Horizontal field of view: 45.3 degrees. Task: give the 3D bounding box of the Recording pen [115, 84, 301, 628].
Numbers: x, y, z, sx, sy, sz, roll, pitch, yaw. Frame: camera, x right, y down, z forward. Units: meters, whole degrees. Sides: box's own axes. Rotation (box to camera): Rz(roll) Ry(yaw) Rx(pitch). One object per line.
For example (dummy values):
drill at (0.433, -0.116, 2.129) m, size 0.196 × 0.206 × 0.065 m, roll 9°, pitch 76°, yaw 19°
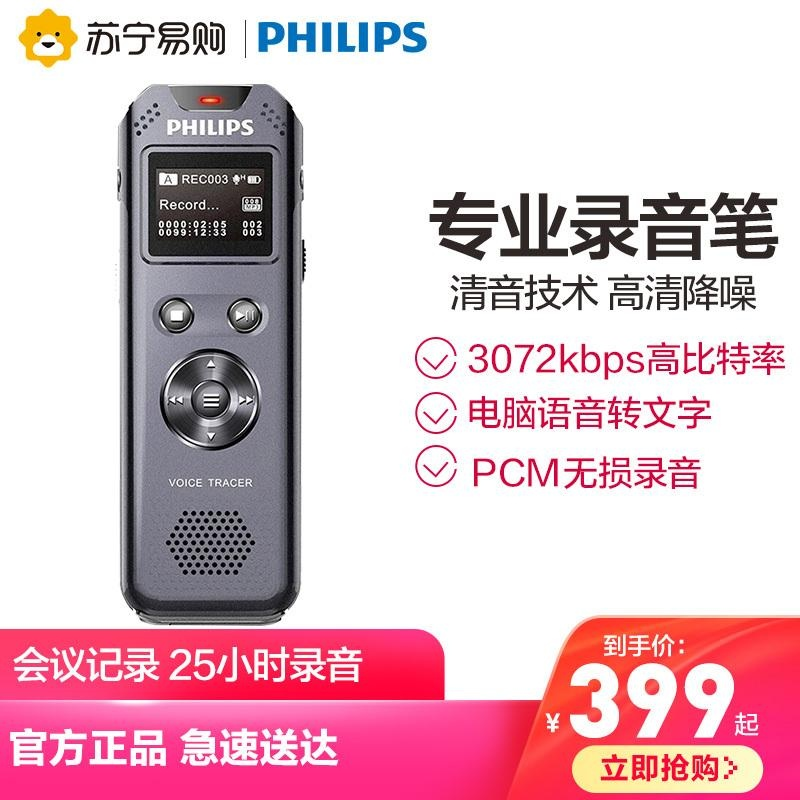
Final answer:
Recording pen at (-0.540, -0.123, 2.546) m, size 0.615 × 1.414 × 0.222 m, roll -3°, pitch 8°, yaw -35°
